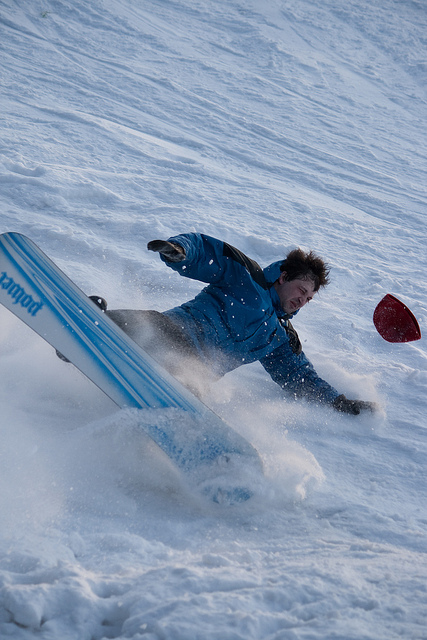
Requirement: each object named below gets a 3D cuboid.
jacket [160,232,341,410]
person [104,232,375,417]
[{"bbox_3d":[0.254,0.055,5.592,1.232,1.202,0.395,60,-14,-24],"label":"jacket"},{"bbox_3d":[0.163,0.065,5.725,1.611,1.279,0.464,-20,44,-5],"label":"person"}]
